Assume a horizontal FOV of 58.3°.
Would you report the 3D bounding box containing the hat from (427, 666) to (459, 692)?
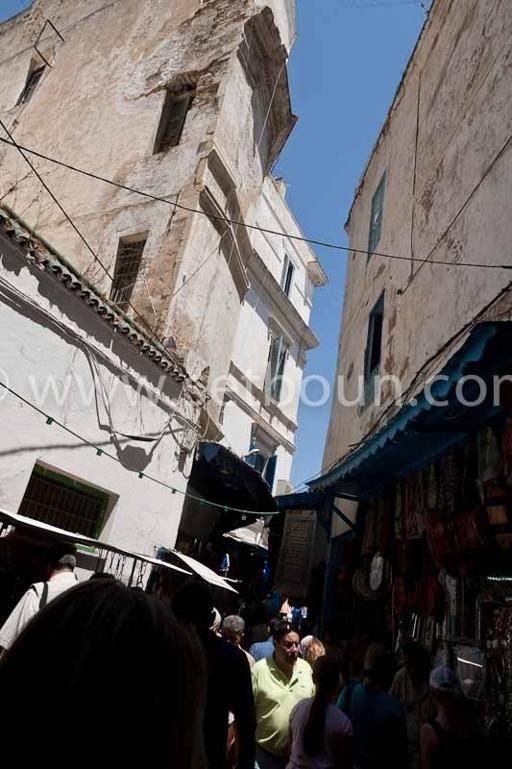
[{"bbox_3d":[1.128,1.793,2.754,0.094,0.125,0.147,8,-25,12],"label":"hat"}]
